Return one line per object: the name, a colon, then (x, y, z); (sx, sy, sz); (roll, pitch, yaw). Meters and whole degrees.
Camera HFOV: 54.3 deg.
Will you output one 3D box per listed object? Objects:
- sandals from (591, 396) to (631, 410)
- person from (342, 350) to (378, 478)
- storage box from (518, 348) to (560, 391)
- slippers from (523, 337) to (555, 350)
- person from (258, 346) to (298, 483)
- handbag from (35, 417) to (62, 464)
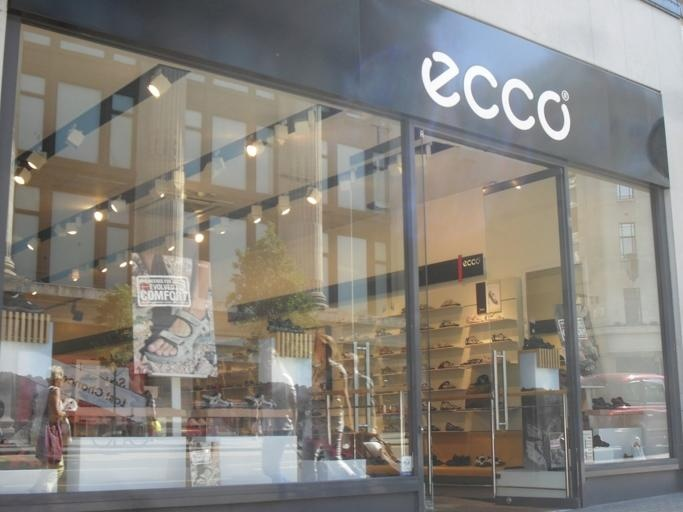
sandals: (2.726, 1.529, 6.837); (0.463, 0.162, 0.169); (4, -10, -24)
person: (0.152, 1.198, 5.126); (0.179, 0.961, 0.219); (4, -5, -25)
storage box: (2.012, 1.170, 6.800); (0.126, 0.431, 0.513); (3, -15, -24)
slippers: (2.032, 0.922, 6.898); (0.093, 0.127, 0.308); (4, -11, -30)
person: (-0.463, 1.114, 4.777); (0.075, 0.995, 0.326); (-14, -18, 42)
handbag: (-1.730, 1.120, 3.981); (0.146, 0.263, 0.061); (4, -14, -24)
